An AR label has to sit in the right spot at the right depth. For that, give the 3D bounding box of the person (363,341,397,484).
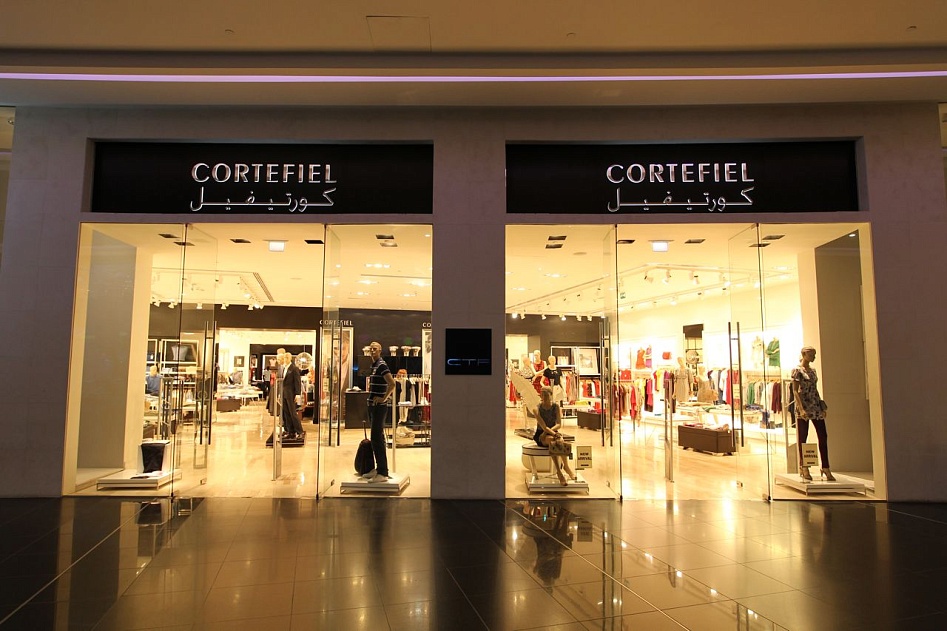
[{"bbox_3d":[-1.287,1.285,9.615,0.373,1.779,0.742,-1,8,-9],"label":"person"}]

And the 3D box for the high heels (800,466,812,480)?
[{"bbox_3d":[4.566,2.165,9.539,0.133,0.168,0.166,1,-15,1],"label":"high heels"}]

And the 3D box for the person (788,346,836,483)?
[{"bbox_3d":[4.732,1.361,9.683,0.526,1.720,0.753,2,8,9],"label":"person"}]

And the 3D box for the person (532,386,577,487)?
[{"bbox_3d":[1.131,1.645,9.651,0.469,1.225,0.677,-4,9,-26],"label":"person"}]

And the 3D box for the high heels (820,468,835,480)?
[{"bbox_3d":[4.874,2.165,9.487,0.177,0.141,0.154,-1,8,-6],"label":"high heels"}]
